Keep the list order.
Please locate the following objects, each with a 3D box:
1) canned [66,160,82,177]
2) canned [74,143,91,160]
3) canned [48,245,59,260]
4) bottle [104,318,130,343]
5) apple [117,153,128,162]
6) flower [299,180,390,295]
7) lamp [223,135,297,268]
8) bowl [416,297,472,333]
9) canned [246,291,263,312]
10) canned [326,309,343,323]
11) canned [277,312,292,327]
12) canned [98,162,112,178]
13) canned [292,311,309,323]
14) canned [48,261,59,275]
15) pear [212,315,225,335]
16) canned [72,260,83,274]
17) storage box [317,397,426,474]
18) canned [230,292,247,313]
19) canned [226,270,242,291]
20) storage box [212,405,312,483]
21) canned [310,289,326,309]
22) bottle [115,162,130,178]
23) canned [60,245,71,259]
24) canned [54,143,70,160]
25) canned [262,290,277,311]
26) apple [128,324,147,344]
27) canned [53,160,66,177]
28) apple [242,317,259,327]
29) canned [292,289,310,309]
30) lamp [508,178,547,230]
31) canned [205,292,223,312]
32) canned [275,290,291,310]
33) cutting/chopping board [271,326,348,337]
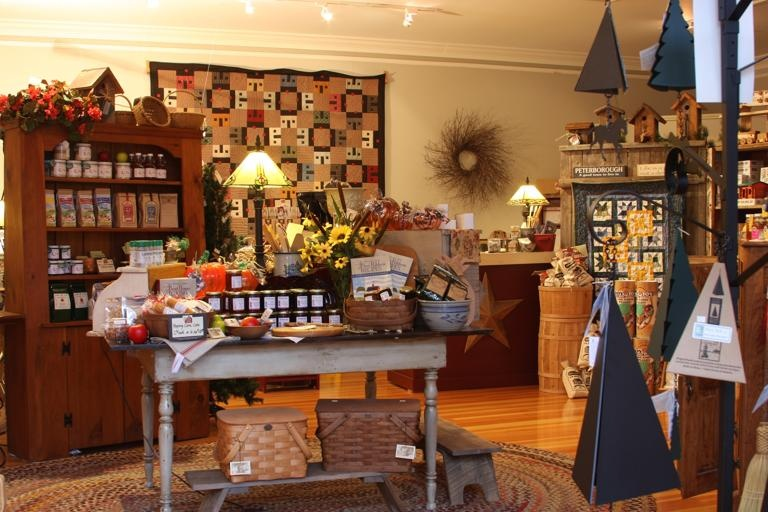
[{"bbox_3d":[-2.600,-0.730,5.582,0.128,0.134,0.130,-1,-2,44],"label":"canned"},{"bbox_3d":[-2.537,-0.881,5.631,0.136,0.136,0.136,2,-2,-10],"label":"canned"},{"bbox_3d":[-2.747,-0.036,5.477,0.102,0.110,0.100,2,-1,-37],"label":"canned"},{"bbox_3d":[-1.665,0.462,4.200,0.143,0.130,0.152,0,-2,19],"label":"bottle"},{"bbox_3d":[-2.267,-0.855,5.795,0.087,0.087,0.085,22,-10,-17],"label":"apple"},{"bbox_3d":[-0.270,-0.033,4.606,0.532,0.658,0.446,3,7,5],"label":"flower"},{"bbox_3d":[-1.111,-0.374,5.877,0.620,1.229,0.599,0,-3,-36],"label":"lamp"},{"bbox_3d":[0.409,0.391,4.472,0.394,0.224,0.381,2,0,0],"label":"bowl"},{"bbox_3d":[-0.871,0.307,4.449,0.117,0.127,0.119,0,-2,20],"label":"canned"},{"bbox_3d":[-0.340,0.406,4.501,0.098,0.092,0.164,0,5,4],"label":"canned"},{"bbox_3d":[-0.678,0.418,4.464,0.092,0.101,0.094,0,-2,34],"label":"canned"},{"bbox_3d":[-2.382,-0.727,5.683,0.131,0.138,0.130,0,-1,-15],"label":"canned"},{"bbox_3d":[-0.560,0.401,4.452,0.106,0.076,0.092,-1,5,-9],"label":"canned"},{"bbox_3d":[-2.743,0.097,5.530,0.094,0.100,0.094,1,3,-5],"label":"canned"},{"bbox_3d":[-1.037,0.427,4.166,0.108,0.161,0.097,0,-7,-15],"label":"pear"},{"bbox_3d":[-2.592,0.095,5.623,0.100,0.110,0.099,1,-1,-30],"label":"canned"},{"bbox_3d":[-0.095,1.209,4.577,0.716,0.426,0.507,0,-1,-2],"label":"storage box"},{"bbox_3d":[-0.973,0.307,4.498,0.123,0.134,0.123,1,-2,-7],"label":"canned"},{"bbox_3d":[-1.092,0.177,4.885,0.141,0.153,0.140,0,1,-17],"label":"canned"},{"bbox_3d":[-0.720,1.276,4.375,0.646,0.387,0.632,-18,-22,32],"label":"storage box"},{"bbox_3d":[-0.453,0.288,4.567,0.113,0.123,0.113,1,0,2],"label":"canned"},{"bbox_3d":[-2.241,-0.741,5.785,0.128,0.138,0.130,1,2,13],"label":"bottle"},{"bbox_3d":[-2.696,-0.037,5.625,0.101,0.107,0.100,3,-2,-30],"label":"canned"},{"bbox_3d":[-2.708,-0.886,5.584,0.106,0.158,0.081,-3,6,-25],"label":"canned"},{"bbox_3d":[-0.771,0.293,4.410,0.114,0.129,0.116,1,0,45],"label":"canned"},{"bbox_3d":[-1.489,0.473,4.054,0.107,0.108,0.107,12,-2,-19],"label":"apple"},{"bbox_3d":[-2.703,-0.728,5.541,0.127,0.137,0.124,1,-1,-39],"label":"canned"},{"bbox_3d":[-0.849,0.411,4.175,0.061,0.046,0.062,2,0,19],"label":"apple"},{"bbox_3d":[-0.574,0.295,4.564,0.121,0.129,0.119,0,3,-12],"label":"canned"},{"bbox_3d":[1.981,-0.697,9.290,0.531,0.800,0.558,1,-2,19],"label":"lamp"},{"bbox_3d":[-1.140,0.302,4.465,0.098,0.123,0.128,-3,6,-29],"label":"canned"},{"bbox_3d":[-0.683,0.294,4.488,0.110,0.122,0.110,0,0,18],"label":"canned"},{"bbox_3d":[-0.485,0.477,4.276,0.462,0.054,0.194,-1,5,-8],"label":"cutting/chopping board"}]
